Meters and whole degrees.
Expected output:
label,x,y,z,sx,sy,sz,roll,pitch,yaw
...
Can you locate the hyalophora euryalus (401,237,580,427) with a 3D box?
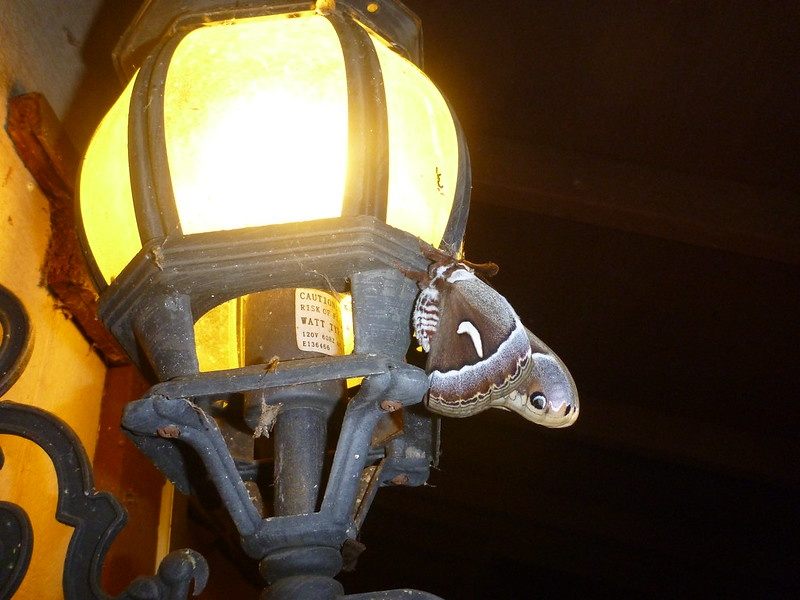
label,x,y,z,sx,sy,sz,roll,pitch,yaw
hyalophora euryalus,0.256,0.216,3.876,0.302,0.677,0.639,-36,18,-11
